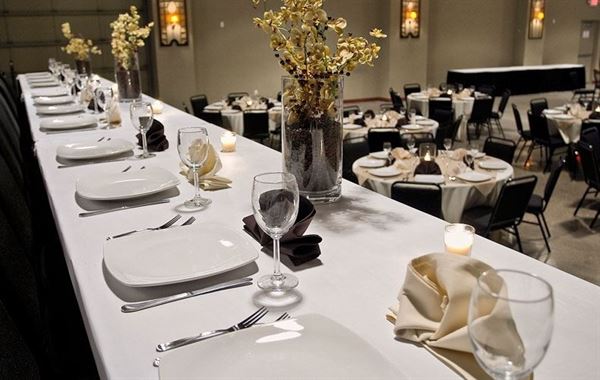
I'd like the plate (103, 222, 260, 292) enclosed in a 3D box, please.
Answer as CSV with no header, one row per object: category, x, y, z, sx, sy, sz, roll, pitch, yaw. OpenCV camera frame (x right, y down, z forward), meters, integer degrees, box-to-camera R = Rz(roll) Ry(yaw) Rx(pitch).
plate,-0.411,0.225,1.331,0.276,0.041,0.280,-6,19,-21

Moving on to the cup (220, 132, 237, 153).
cup,-0.447,-0.309,2.573,0.119,0.138,0.123,1,16,0

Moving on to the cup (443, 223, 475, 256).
cup,0.554,0.152,1.359,0.100,0.123,0.103,-1,12,0

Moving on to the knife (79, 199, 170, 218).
knife,-0.778,0.083,1.739,0.362,0.027,0.037,-5,30,-23

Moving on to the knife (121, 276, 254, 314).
knife,-0.356,0.325,1.210,0.375,0.018,0.042,-7,39,-22
